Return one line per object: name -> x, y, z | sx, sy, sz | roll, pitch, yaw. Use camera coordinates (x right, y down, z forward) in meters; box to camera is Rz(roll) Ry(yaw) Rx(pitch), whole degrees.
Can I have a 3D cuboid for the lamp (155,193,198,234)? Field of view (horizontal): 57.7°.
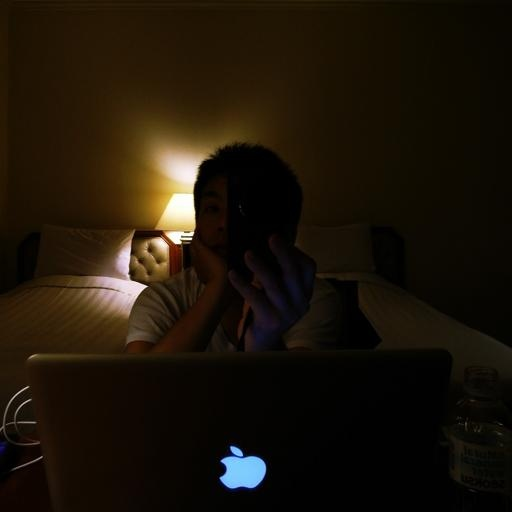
lamp -> -0.359, -0.192, 2.189 | 0.163, 0.157, 0.202 | 3, 7, 4
